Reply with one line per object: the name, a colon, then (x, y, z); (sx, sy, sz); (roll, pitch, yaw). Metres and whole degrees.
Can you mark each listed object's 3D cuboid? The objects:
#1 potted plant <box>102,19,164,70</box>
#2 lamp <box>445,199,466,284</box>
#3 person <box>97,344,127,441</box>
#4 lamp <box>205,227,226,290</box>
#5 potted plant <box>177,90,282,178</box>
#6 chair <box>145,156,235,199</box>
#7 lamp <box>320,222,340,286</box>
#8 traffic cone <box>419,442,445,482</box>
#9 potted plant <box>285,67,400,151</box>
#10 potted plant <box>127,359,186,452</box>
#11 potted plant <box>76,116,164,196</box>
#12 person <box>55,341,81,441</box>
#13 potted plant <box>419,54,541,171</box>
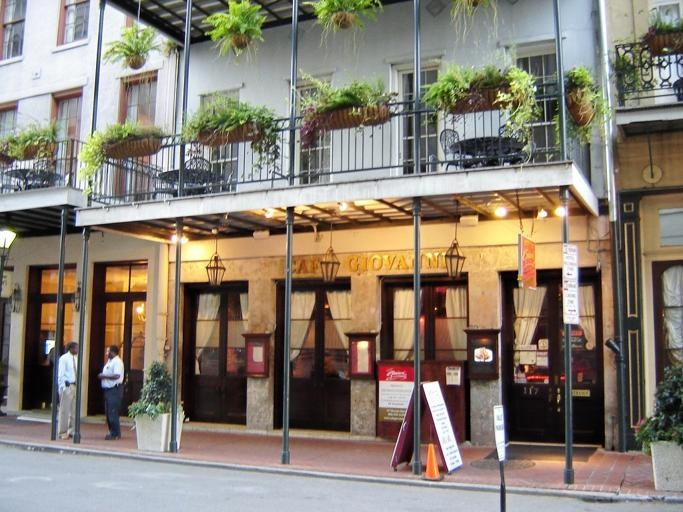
potted plant: (-4.813, -4.716, 18.145); (1.089, 1.096, 1.265); (1, 9, -3)
lamp: (2.244, -0.188, 15.608); (0.424, 1.236, 0.664); (-2, -5, 13)
person: (-4.675, 2.749, 15.795); (0.437, 1.858, 0.534); (0, -4, -17)
lamp: (-2.812, 0.078, 17.346); (0.441, 1.127, 1.193); (-1, -5, -11)
potted plant: (-2.049, -2.372, 14.762); (1.868, 1.523, 0.444); (-3, -4, 11)
chair: (-3.119, -1.611, 16.319); (0.808, 0.749, 0.629); (-3, -9, 26)
lamp: (-0.269, -0.057, 16.446); (0.423, 1.165, 0.672); (-1, -4, -2)
traffic cone: (1.509, 3.356, 12.925); (0.397, 0.713, 0.422); (-4, -5, 14)
potted plant: (0.053, -2.892, 14.045); (1.610, 1.447, 0.788); (5, -10, 18)
potted plant: (-3.566, 2.837, 14.981); (0.967, 1.643, 1.312); (0, -5, -15)
potted plant: (-4.417, -2.138, 15.621); (1.902, 0.969, 0.378); (-4, -5, 22)
person: (-5.619, 2.715, 15.978); (0.393, 1.880, 0.590); (0, -5, -17)
potted plant: (2.435, -2.542, 13.941); (2.071, 2.727, 1.915); (-3, -6, 22)
